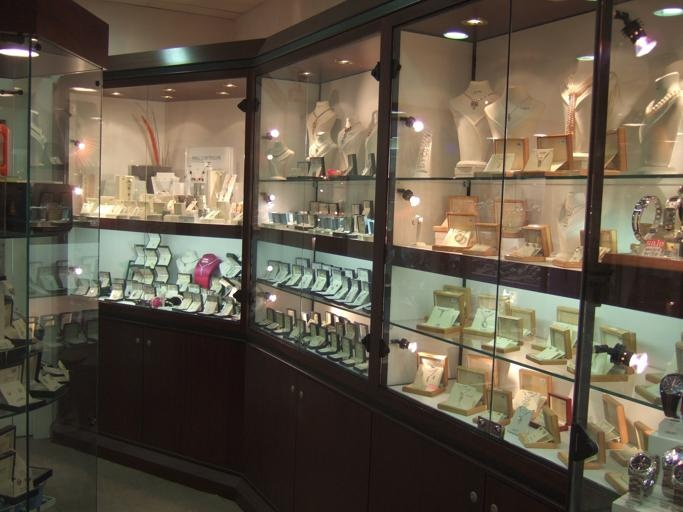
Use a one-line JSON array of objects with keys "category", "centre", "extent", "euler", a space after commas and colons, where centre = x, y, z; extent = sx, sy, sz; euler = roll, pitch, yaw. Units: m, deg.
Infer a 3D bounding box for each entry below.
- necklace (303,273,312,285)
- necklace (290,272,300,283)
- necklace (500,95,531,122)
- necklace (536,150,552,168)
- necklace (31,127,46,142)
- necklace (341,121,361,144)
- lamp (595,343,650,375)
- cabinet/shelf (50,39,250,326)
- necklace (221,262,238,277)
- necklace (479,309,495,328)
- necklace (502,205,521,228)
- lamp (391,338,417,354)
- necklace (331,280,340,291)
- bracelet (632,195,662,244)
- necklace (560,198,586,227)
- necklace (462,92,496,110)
[{"category": "necklace", "centre": [-0.202, 0.141, 3.252], "extent": [0.061, 0.079, 0.041], "euler": [4, 1, 41]}, {"category": "necklace", "centre": [-0.276, 0.141, 3.333], "extent": [0.015, 0.064, 0.062], "euler": [26, -14, -37]}, {"category": "necklace", "centre": [0.720, -0.597, 2.252], "extent": [0.108, 0.109, 0.022], "euler": [4, 5, 19]}, {"category": "necklace", "centre": [0.800, -0.380, 2.167], "extent": [0.009, 0.078, 0.067], "euler": [3, 2, -38]}, {"category": "necklace", "centre": [-1.326, -0.527, 2.402], "extent": [0.037, 0.075, 0.041], "euler": [-3, -6, 31]}, {"category": "necklace", "centre": [0.049, -0.661, 2.977], "extent": [0.079, 0.151, 0.149], "euler": [1, 13, -29]}, {"category": "lamp", "centre": [0.820, 0.299, 1.648], "extent": [0.052, 0.084, 0.162], "euler": [-2, 12, -39]}, {"category": "cabinet/shelf", "centre": [-1.162, -0.474, 3.470], "extent": [1.672, 1.715, 0.604], "euler": [7, 10, 33]}, {"category": "necklace", "centre": [-0.771, 0.099, 3.764], "extent": [0.018, 0.104, 0.107], "euler": [10, 39, -47]}, {"category": "necklace", "centre": [0.620, 0.266, 2.337], "extent": [0.024, 0.080, 0.075], "euler": [0, 6, -25]}, {"category": "necklace", "centre": [0.697, -0.158, 2.252], "extent": [0.064, 0.129, 0.064], "euler": [-7, -16, 44]}, {"category": "lamp", "centre": [0.305, 0.432, 2.663], "extent": [0.120, 0.058, 0.050], "euler": [16, 53, 34]}, {"category": "necklace", "centre": [-0.029, 0.173, 3.108], "extent": [0.014, 0.057, 0.059], "euler": [20, -1, -35]}, {"category": "bracelet", "centre": [0.881, -0.106, 1.585], "extent": [0.029, 0.118, 0.116], "euler": [10, 42, 41]}, {"category": "necklace", "centre": [0.880, -0.157, 2.134], "extent": [0.073, 0.146, 0.106], "euler": [2, 0, -24]}, {"category": "necklace", "centre": [0.599, -0.666, 2.373], "extent": [0.085, 0.076, 0.026], "euler": [7, -19, 35]}]
